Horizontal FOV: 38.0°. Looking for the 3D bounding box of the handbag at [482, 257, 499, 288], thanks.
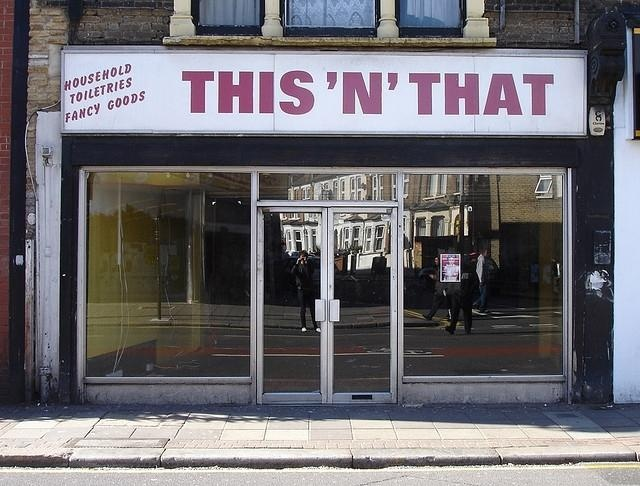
[{"bbox_3d":[2.646,0.440,14.550,0.287,0.411,0.411,1,-3,-3],"label":"handbag"}]
